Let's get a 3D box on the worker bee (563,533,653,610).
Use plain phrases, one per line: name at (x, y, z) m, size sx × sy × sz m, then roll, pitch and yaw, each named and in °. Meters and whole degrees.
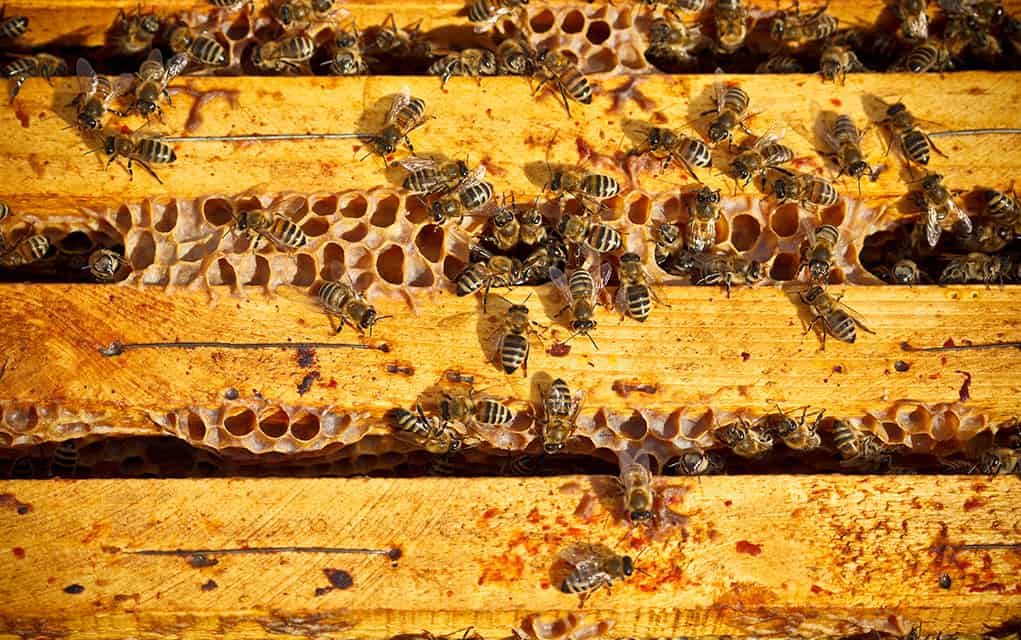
worker bee at (0.582, 1.583, 9.050) m, size 0.539 × 0.131 × 0.374 m, roll -1°, pitch 74°, yaw 0°
